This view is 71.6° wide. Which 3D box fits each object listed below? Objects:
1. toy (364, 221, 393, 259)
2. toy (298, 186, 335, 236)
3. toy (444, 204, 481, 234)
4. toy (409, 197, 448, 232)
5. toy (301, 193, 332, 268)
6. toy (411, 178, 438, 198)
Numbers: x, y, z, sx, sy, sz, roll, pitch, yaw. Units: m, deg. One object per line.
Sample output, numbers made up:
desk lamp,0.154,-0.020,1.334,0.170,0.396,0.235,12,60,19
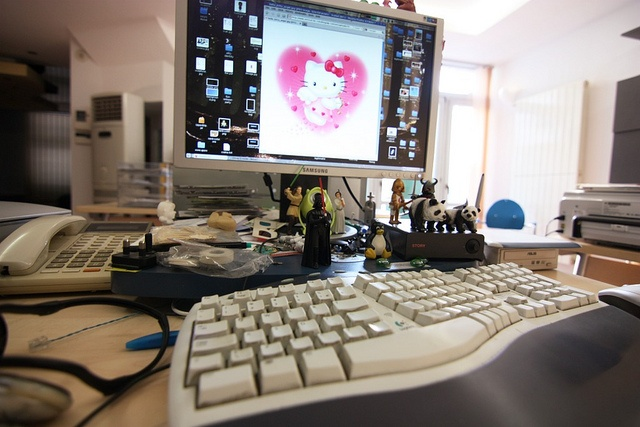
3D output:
toy,0.201,0.104,1.681,0.147,0.166,0.112,2,-5,-8
toy,-0.019,-0.014,1.757,0.143,0.186,0.107,-5,15,-12
toy,0.507,0.026,1.637,0.076,0.091,0.134,1,3,-31
toy,0.390,0.002,1.650,0.094,0.131,0.184,9,-2,-25
toy,-0.011,0.059,1.525,0.101,0.249,0.086,1,9,-8
toy,0.399,-0.101,1.727,0.085,0.081,0.040,3,-7,2
